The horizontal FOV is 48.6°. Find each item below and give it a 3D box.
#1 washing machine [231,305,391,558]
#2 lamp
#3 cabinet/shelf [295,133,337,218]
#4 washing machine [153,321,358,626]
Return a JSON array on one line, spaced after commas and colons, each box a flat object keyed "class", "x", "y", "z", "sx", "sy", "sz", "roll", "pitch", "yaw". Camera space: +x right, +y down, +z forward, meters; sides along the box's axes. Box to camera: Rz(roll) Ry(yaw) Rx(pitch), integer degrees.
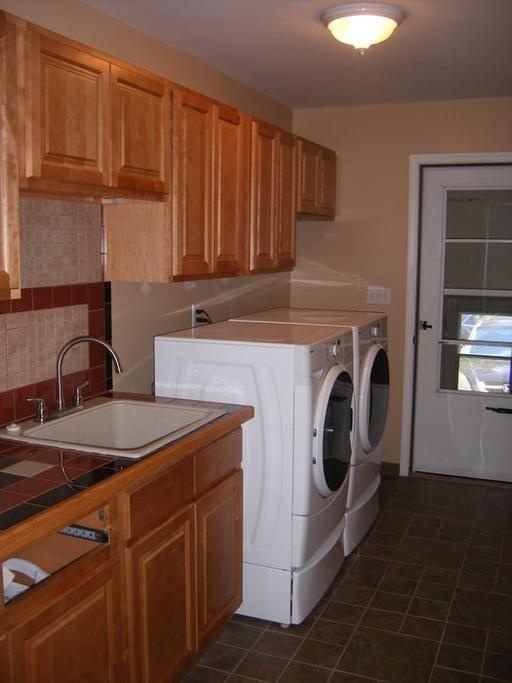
[{"class": "washing machine", "x": 0.566, "y": 0.386, "z": 3.325, "sx": 0.995, "sy": 1.580, "sz": 1.092, "roll": 3, "pitch": 11, "yaw": 24}, {"class": "lamp", "x": 0.360, "y": -1.084, "z": 1.953, "sx": 0.150, "sy": 0.076, "sz": 0.149, "roll": 8, "pitch": 15, "yaw": 44}, {"class": "cabinet/shelf", "x": 0.418, "y": -1.034, "z": 3.625, "sx": 0.371, "sy": 0.456, "sz": 0.699, "roll": 2, "pitch": 14, "yaw": -2}, {"class": "washing machine", "x": 0.065, "y": 0.497, "z": 2.533, "sx": 0.625, "sy": 1.092, "sz": 0.789, "roll": 0, "pitch": 4, "yaw": 23}]
